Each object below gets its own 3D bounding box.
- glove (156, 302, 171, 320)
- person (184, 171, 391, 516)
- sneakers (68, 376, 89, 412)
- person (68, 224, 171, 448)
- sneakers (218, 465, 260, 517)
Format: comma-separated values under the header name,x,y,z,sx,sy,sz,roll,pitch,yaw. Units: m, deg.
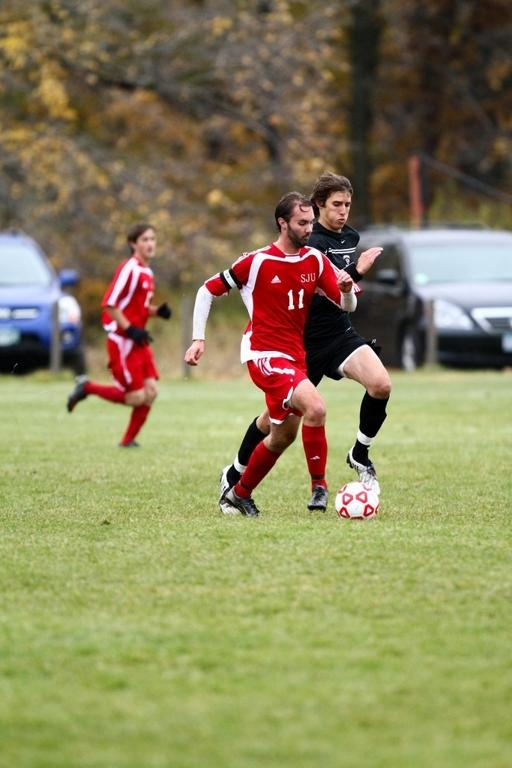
name,x,y,z,sx,sy,sz,roll,pitch,yaw
glove,-0.685,-0.552,7.398,0.100,0.120,0.144,-7,22,-4
person,0.073,-0.127,4.456,0.736,1.453,0.543,2,7,1
sneakers,-1.657,0.102,9.199,0.207,0.379,0.132,16,31,-20
person,-0.938,-0.344,7.227,0.600,1.624,1.047,1,6,-6
sneakers,-0.104,0.500,4.533,0.121,0.240,0.097,-32,1,32
